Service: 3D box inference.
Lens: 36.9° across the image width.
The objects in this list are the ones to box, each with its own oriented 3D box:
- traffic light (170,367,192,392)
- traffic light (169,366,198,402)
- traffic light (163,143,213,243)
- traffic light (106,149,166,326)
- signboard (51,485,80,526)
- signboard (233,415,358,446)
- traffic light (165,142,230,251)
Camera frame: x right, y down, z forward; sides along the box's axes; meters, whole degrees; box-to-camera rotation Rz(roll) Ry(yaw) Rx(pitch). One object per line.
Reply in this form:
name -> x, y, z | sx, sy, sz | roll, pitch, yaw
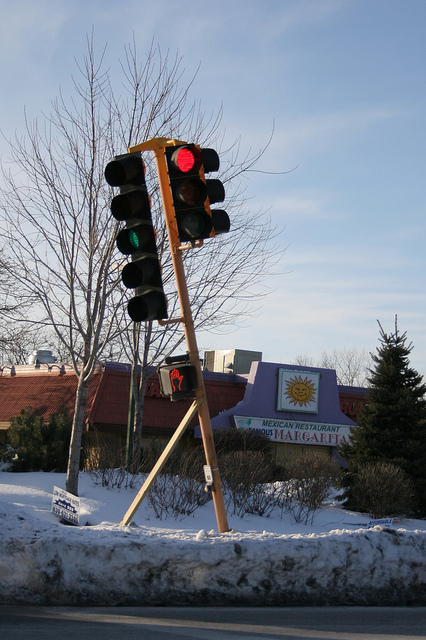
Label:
traffic light -> -0.356, 0.650, 6.892 | 0.285, 0.302, 0.039 | -3, -9, -23
traffic light -> -0.325, 0.692, 7.021 | 0.290, 0.363, 0.327 | 1, -6, -1
traffic light -> -0.262, -1.397, 6.895 | 0.530, 1.064, 0.333 | 2, -7, -6
traffic light -> -0.830, -0.921, 6.651 | 0.672, 1.892, 0.419 | -3, -8, 33
signboard -> -2.023, 2.625, 8.916 | 0.637, 0.475, 0.267 | -5, -9, 44
signboard -> 3.294, 4.425, 25.223 | 4.944, 1.211, 0.457 | 4, -7, -25
traffic light -> -0.170, -1.369, 6.967 | 0.719, 1.187, 0.612 | 2, -6, -9
